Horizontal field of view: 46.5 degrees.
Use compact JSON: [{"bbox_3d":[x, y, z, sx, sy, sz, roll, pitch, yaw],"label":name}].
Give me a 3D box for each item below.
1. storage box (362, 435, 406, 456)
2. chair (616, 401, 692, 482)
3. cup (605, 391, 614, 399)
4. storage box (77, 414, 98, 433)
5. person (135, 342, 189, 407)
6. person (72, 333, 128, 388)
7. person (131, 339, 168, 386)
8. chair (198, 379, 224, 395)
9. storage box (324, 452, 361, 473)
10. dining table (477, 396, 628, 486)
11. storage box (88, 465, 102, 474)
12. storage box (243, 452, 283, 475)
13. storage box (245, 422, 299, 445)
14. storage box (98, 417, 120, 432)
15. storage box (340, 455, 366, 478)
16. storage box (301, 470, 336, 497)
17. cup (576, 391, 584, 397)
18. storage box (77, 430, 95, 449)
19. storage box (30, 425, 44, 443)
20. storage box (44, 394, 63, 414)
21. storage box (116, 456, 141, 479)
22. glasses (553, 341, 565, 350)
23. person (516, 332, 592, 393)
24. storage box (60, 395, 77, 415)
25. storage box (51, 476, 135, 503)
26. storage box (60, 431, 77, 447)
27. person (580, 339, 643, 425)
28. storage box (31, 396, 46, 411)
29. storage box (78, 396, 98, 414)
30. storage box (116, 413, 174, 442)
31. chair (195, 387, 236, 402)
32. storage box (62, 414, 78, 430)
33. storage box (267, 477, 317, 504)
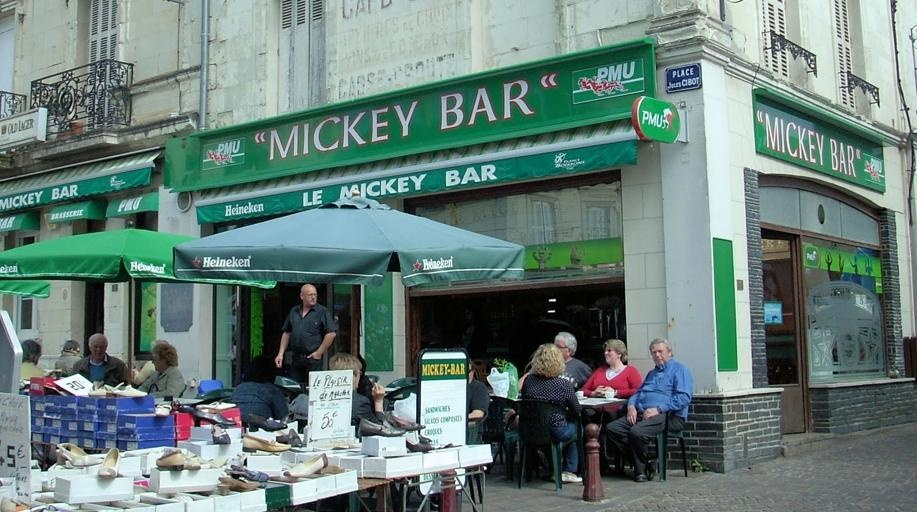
[{"bbox_3d":[-1.093,2.678,15.158,0.386,0.160,0.371,5,-8,-36],"label":"storage box"},{"bbox_3d":[3.338,3.251,18.647,1.338,1.408,1.223,8,-8,-18],"label":"chair"},{"bbox_3d":[2.691,2.467,18.996,0.145,0.098,0.143,2,-14,1],"label":"cup"},{"bbox_3d":[-5.482,2.473,15.783,0.285,0.245,0.165,4,-6,19],"label":"storage box"},{"bbox_3d":[-5.264,2.005,18.724,0.987,0.953,0.969,9,6,44],"label":"person"},{"bbox_3d":[-6.926,2.036,20.746,1.050,0.911,0.538,-1,-7,-15],"label":"person"},{"bbox_3d":[-5.879,2.039,20.347,0.352,0.884,0.690,27,12,-1],"label":"person"},{"bbox_3d":[-4.795,2.513,20.648,0.432,0.231,0.409,-2,-5,24],"label":"chair"},{"bbox_3d":[-1.587,2.898,14.989,0.275,0.142,0.384,4,-4,-44],"label":"storage box"},{"bbox_3d":[1.560,3.176,19.075,1.695,1.997,1.718,-1,3,36],"label":"dining table"},{"bbox_3d":[-4.889,2.885,14.352,0.298,0.112,0.103,-11,-12,43],"label":"storage box"},{"bbox_3d":[-2.675,2.839,14.673,0.356,0.140,0.331,1,-5,11],"label":"storage box"},{"bbox_3d":[-2.679,2.609,15.706,0.949,0.262,0.300,2,-4,18],"label":"storage box"},{"bbox_3d":[-5.128,2.478,15.656,0.273,0.149,0.278,-1,-3,44],"label":"storage box"},{"bbox_3d":[-1.473,2.958,14.960,0.307,0.259,0.180,0,-5,6],"label":"storage box"},{"bbox_3d":[-1.871,3.134,14.603,0.301,0.197,0.304,-7,-8,42],"label":"storage box"},{"bbox_3d":[2.175,2.467,19.075,0.122,0.076,0.112,0,-7,0],"label":"cup"},{"bbox_3d":[-5.498,2.701,15.783,0.285,0.241,0.166,5,-2,14],"label":"storage box"},{"bbox_3d":[-6.423,2.709,16.262,0.283,0.235,0.264,2,-5,-28],"label":"storage box"},{"bbox_3d":[-6.125,2.228,16.108,0.304,0.247,0.194,8,5,17],"label":"storage box"},{"bbox_3d":[-4.483,2.873,14.513,0.293,0.192,0.294,-3,-4,41],"label":"storage box"},{"bbox_3d":[1.848,1.635,19.572,0.179,0.069,0.129,15,-2,-8],"label":"glasses"},{"bbox_3d":[1.977,2.119,19.917,0.648,1.262,1.774,-4,0,-38],"label":"person"},{"bbox_3d":[-5.828,2.226,16.013,0.323,0.268,0.291,3,-1,5],"label":"storage box"},{"bbox_3d":[-4.769,3.081,14.045,0.662,0.183,0.484,7,-9,-35],"label":"storage box"},{"bbox_3d":[-5.838,2.726,15.959,0.270,0.141,0.251,0,-2,10],"label":"storage box"},{"bbox_3d":[2.650,2.236,19.308,1.250,1.396,1.092,3,-6,-35],"label":"person"},{"bbox_3d":[-6.405,2.243,16.275,0.174,0.237,0.259,-1,4,0],"label":"storage box"},{"bbox_3d":[-5.496,2.203,15.791,0.436,0.267,0.235,-1,-3,31],"label":"storage box"},{"bbox_3d":[-4.550,2.483,15.537,0.650,0.291,0.462,3,-6,-35],"label":"storage box"},{"bbox_3d":[-4.301,2.487,19.111,0.690,0.195,0.435,1,0,-45],"label":"chair"},{"bbox_3d":[-5.815,2.472,15.996,0.257,0.218,0.148,5,-2,18],"label":"storage box"},{"bbox_3d":[-2.193,3.189,14.429,0.536,0.200,0.360,5,-8,-38],"label":"storage box"}]
